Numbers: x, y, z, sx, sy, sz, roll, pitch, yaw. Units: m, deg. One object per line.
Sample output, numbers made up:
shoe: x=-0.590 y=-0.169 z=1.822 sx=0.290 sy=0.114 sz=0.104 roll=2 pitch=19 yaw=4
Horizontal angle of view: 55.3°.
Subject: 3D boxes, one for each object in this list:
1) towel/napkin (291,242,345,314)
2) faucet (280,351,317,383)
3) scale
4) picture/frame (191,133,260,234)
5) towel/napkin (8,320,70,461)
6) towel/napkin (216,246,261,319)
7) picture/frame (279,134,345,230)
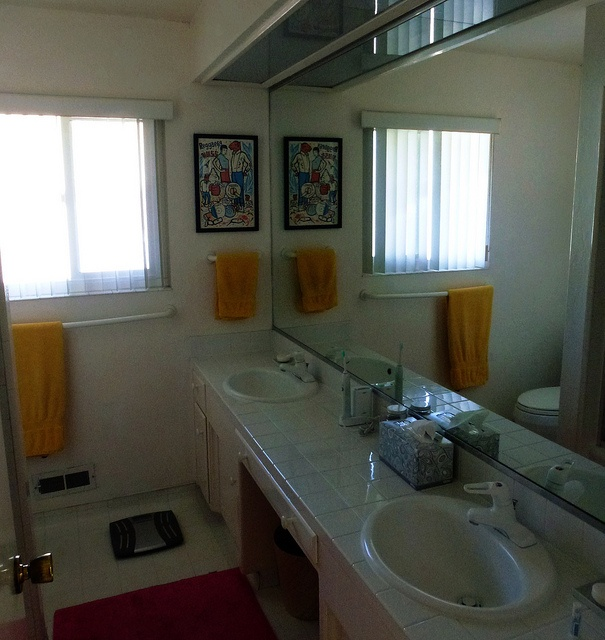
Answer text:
towel/napkin: x=0.076 y=-0.195 z=2.756 sx=0.074 sy=0.306 sz=0.201 roll=-6 pitch=9 yaw=-35
faucet: x=-0.032 y=0.216 z=2.794 sx=0.082 sy=0.101 sz=0.229 roll=-7 pitch=20 yaw=-22
scale: x=-0.788 y=1.074 z=2.912 sx=0.350 sy=0.055 sz=0.312 roll=-4 pitch=12 yaw=-21
picture/frame: x=-0.415 y=-0.722 z=2.994 sx=0.399 sy=0.661 sz=0.020 roll=-6 pitch=13 yaw=-28
towel/napkin: x=-1.286 y=0.344 z=2.763 sx=0.074 sy=0.626 sz=0.303 roll=-4 pitch=-1 yaw=21
towel/napkin: x=-0.354 y=-0.190 z=3.077 sx=0.217 sy=0.377 sz=0.044 roll=-1 pitch=32 yaw=-12
picture/frame: x=0.055 y=-0.655 z=2.713 sx=0.018 sy=0.622 sz=0.445 roll=-3 pitch=5 yaw=-32
